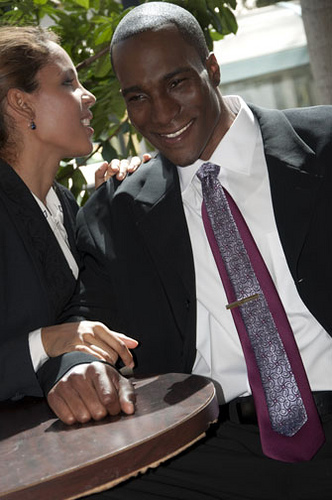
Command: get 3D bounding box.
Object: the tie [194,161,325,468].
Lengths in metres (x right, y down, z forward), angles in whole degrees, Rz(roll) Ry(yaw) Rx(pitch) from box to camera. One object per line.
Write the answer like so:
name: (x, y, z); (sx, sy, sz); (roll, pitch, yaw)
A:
tie: (0.248, 0.166, 1.250); (0.237, 0.808, 0.042); (-22, -15, 14)

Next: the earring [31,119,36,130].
earring: (-0.584, -0.550, 1.889); (0.022, 0.041, 0.019); (-11, -2, -14)
